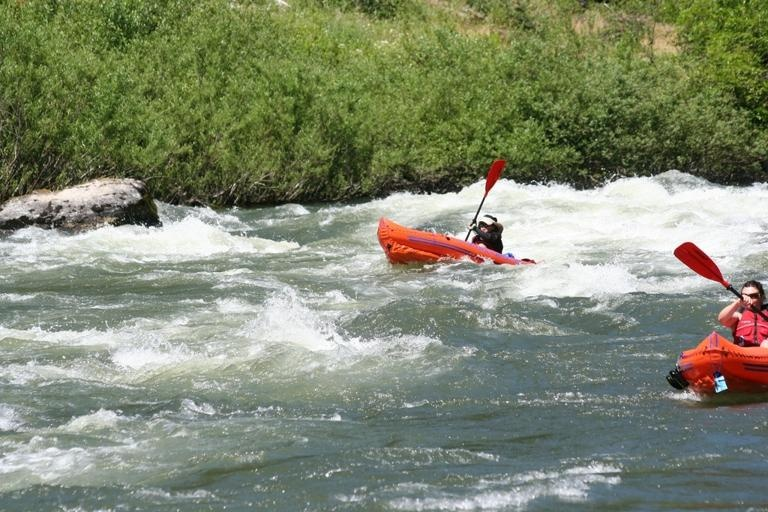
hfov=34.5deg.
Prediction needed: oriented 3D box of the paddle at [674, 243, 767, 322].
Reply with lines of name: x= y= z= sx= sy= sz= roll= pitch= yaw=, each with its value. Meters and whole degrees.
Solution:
paddle: x=7.832 y=0.689 z=29.001 sx=2.982 sy=0.402 sz=0.167 roll=36 pitch=-1 yaw=14
